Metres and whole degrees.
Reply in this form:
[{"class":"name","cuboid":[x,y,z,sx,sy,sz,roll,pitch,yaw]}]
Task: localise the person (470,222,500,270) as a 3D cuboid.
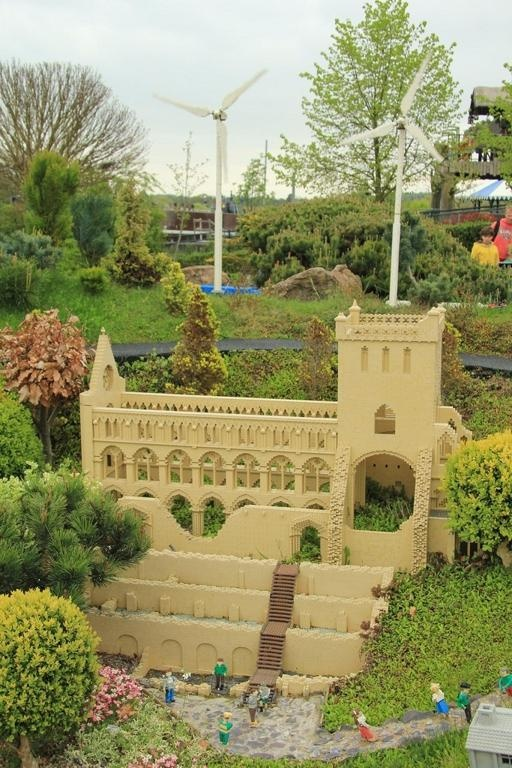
[{"class":"person","cuboid":[9.419,-5.707,50.791,1.017,1.559,1.991,2,6,9]}]
